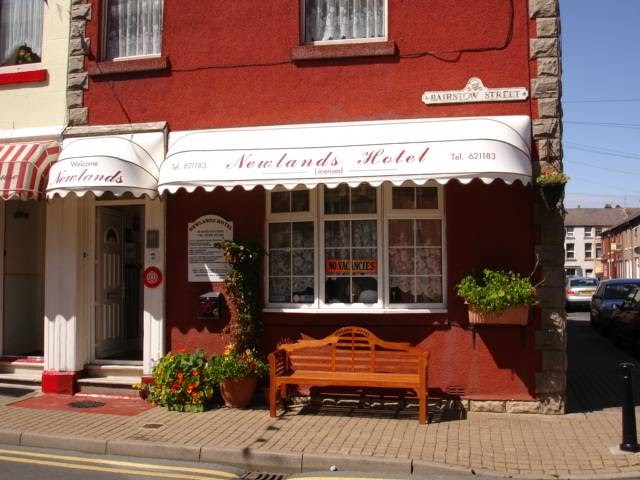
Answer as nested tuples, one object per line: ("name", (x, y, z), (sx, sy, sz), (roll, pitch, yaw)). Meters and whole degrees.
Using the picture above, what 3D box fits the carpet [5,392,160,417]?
("carpet", (-4.158, 2.914, 12.322), (2.440, 0.083, 1.002), (1, 7, 11))

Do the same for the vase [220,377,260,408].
("vase", (-1.419, 2.636, 12.010), (0.508, 0.463, 0.567), (-1, -10, 3))

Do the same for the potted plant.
("potted plant", (3.015, 1.154, 11.801), (1.205, 1.037, 1.295), (2, -31, 8))

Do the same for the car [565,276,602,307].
("car", (11.823, 2.608, 31.396), (1.386, 1.243, 3.393), (-2, 2, 11))

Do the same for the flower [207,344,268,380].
("flower", (-1.492, 2.315, 12.342), (1.050, 0.559, 1.118), (-15, -7, 11))

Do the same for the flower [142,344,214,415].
("flower", (-2.400, 2.477, 12.019), (0.992, 0.858, 0.947), (1, 7, 1))

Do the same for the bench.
("bench", (0.495, 2.283, 11.608), (2.505, 1.727, 0.782), (0, -4, 11))
